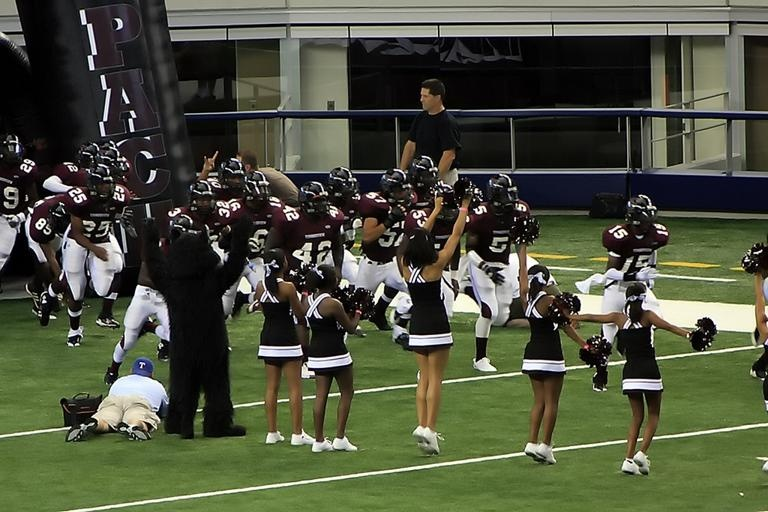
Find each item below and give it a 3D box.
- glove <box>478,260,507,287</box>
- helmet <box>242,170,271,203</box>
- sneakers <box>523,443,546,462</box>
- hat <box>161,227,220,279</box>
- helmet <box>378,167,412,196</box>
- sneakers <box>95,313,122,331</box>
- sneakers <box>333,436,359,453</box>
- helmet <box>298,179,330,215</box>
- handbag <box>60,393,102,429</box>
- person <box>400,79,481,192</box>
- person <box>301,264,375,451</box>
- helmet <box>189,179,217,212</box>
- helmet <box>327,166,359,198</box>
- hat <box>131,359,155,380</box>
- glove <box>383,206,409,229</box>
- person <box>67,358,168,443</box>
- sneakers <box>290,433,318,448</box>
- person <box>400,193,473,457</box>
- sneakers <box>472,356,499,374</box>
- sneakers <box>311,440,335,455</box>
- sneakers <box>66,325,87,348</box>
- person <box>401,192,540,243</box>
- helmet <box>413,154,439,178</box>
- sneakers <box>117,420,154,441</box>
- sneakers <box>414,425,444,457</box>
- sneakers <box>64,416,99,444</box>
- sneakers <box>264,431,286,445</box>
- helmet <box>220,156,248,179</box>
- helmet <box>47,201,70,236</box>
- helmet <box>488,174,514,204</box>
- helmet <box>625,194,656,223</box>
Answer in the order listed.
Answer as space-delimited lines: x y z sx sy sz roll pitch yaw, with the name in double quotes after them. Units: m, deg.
1.344 0.199 11.165 0.123 0.322 0.213 -16 -22 -40 "glove"
-1.552 -0.855 11.129 0.308 0.373 0.286 -3 12 -4 "helmet"
1.363 1.751 8.034 0.100 0.118 0.278 -3 -17 36 "sneakers"
-1.870 -0.018 8.821 0.555 0.379 0.470 -4 41 -47 "hat"
0.157 -0.961 11.484 0.398 0.357 0.306 -11 36 4 "helmet"
-3.865 0.946 12.901 0.484 0.224 0.170 1 14 11 "sneakers"
-0.359 1.769 8.451 0.258 0.107 0.111 1 9 -12 "sneakers"
-0.703 -0.671 10.322 0.397 0.327 0.313 1 9 27 "helmet"
-3.009 1.576 9.103 0.346 0.256 0.128 -4 16 -26 "handbag"
0.709 -1.888 13.705 0.857 1.566 1.027 -1 12 2 "person"
-0.449 0.970 8.446 0.500 1.765 0.590 -3 12 -3 "person"
-2.167 -0.718 10.920 0.290 0.371 0.244 -5 12 -14 "helmet"
-0.583 -0.961 11.542 0.447 0.350 0.317 2 13 14 "helmet"
-2.486 1.177 9.502 0.165 0.119 0.243 8 -2 -5 "hat"
0.125 -0.502 11.498 0.318 0.210 0.131 -38 -5 41 "glove"
-2.582 1.446 9.231 0.751 0.558 1.496 7 7 -4 "person"
-0.744 1.769 8.660 0.274 0.104 0.101 -1 8 -14 "sneakers"
0.492 0.619 8.602 0.703 2.432 1.456 -1 12 4 "person"
1.234 1.315 11.056 0.281 0.164 0.300 -1 11 4 "sneakers"
-0.556 1.793 8.451 0.214 0.082 0.094 -5 8 -36 "sneakers"
-4.173 1.086 12.472 0.159 0.174 0.413 1 10 -4 "sneakers"
1.086 -0.479 10.734 1.122 0.366 0.741 4 15 -8 "person"
0.510 -1.131 11.381 0.318 0.285 0.257 -8 27 11 "helmet"
-2.392 1.709 8.830 0.368 0.134 0.156 22 -7 -4 "sneakers"
0.418 1.689 8.234 0.195 0.160 0.361 12 -23 38 "sneakers"
-2.929 1.713 8.851 0.314 0.133 0.192 -28 -26 27 "sneakers"
-1.032 1.759 8.752 0.084 0.091 0.226 5 9 38 "sneakers"
-2.018 -1.200 12.216 0.330 0.305 0.276 -12 -7 35 "helmet"
-4.468 -0.523 12.591 0.415 0.490 0.315 0 -2 -8 "helmet"
1.419 -0.807 10.849 0.318 0.345 0.252 0 12 7 "helmet"
2.864 -0.545 10.198 0.345 0.297 0.274 -6 14 11 "helmet"
